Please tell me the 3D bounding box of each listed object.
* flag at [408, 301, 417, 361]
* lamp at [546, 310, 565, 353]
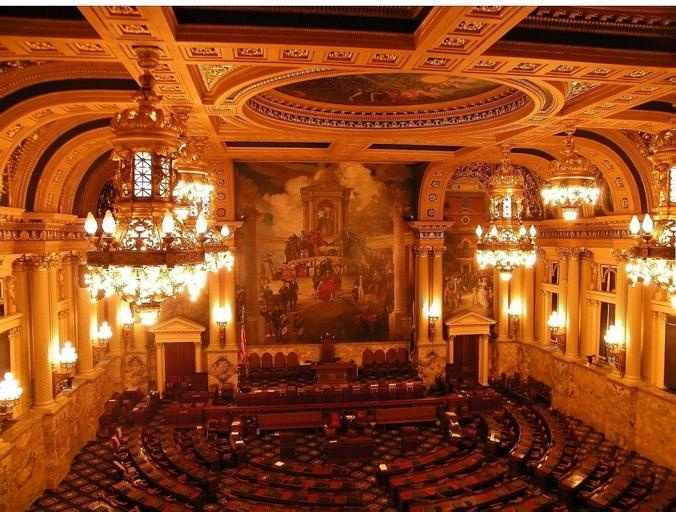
[{"bbox_3d":[2.743,2.735,19.424,0.107,2.184,0.558,1,0,-18],"label":"flag"},{"bbox_3d":[7.147,2.417,17.354,0.500,1.280,0.589,1,0,21],"label":"lamp"}]
